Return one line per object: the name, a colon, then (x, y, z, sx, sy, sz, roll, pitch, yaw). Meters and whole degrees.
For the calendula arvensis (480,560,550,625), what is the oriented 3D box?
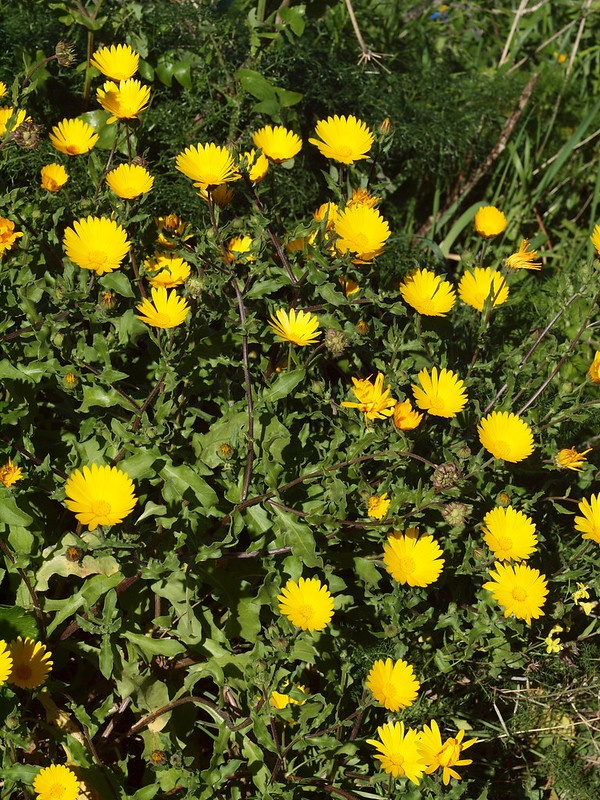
calendula arvensis: (0.502, 0.445, 1.643, 0.168, 0.063, 0.150, 0, 59, -7)

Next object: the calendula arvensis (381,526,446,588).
calendula arvensis: (0.263, 0.374, 1.622, 0.150, 0.064, 0.135, -19, 46, -36)

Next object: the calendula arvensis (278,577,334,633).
calendula arvensis: (-0.011, 0.445, 1.468, 0.046, 0.109, 0.111, 22, 22, -15)

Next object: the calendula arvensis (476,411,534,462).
calendula arvensis: (0.510, 0.097, 1.693, 0.147, 0.058, 0.133, -19, 55, -44)

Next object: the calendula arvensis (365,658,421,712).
calendula arvensis: (0.198, 0.622, 1.512, 0.117, 0.046, 0.109, 5, 29, 0)

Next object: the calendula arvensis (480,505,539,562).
calendula arvensis: (0.497, 0.325, 1.672, 0.138, 0.056, 0.130, -14, 76, -13)
